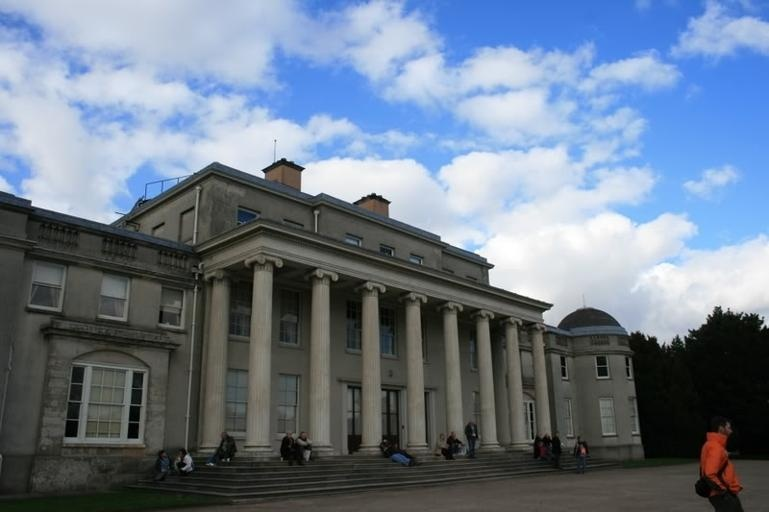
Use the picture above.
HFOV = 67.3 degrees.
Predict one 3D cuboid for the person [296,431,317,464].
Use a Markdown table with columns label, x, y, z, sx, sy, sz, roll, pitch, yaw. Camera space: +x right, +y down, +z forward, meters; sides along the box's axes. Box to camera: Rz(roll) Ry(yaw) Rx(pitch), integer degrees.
| label | x | y | z | sx | sy | sz | roll | pitch | yaw |
| --- | --- | --- | --- | --- | --- | --- | --- | --- | --- |
| person | -3.392 | 8.368 | 25.260 | 0.898 | 1.614 | 0.806 | -23 | -23 | 39 |

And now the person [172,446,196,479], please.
| label | x | y | z | sx | sy | sz | roll | pitch | yaw |
| --- | --- | --- | --- | --- | --- | --- | --- | --- | --- |
| person | -8.218 | 8.649 | 24.356 | 0.909 | 1.059 | 1.532 | -6 | -22 | 9 |

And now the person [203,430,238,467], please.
| label | x | y | z | sx | sy | sz | roll | pitch | yaw |
| --- | --- | --- | --- | --- | --- | --- | --- | --- | --- |
| person | -7.226 | 8.206 | 24.307 | 0.984 | 1.512 | 1.416 | -18 | -29 | 22 |

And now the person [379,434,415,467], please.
| label | x | y | z | sx | sy | sz | roll | pitch | yaw |
| --- | --- | --- | --- | --- | --- | --- | --- | --- | --- |
| person | 0.598 | 9.293 | 27.442 | 1.587 | 1.138 | 0.908 | -5 | -21 | 6 |

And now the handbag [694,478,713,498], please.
| label | x | y | z | sx | sy | sz | roll | pitch | yaw |
| --- | --- | --- | --- | --- | --- | --- | --- | --- | --- |
| handbag | 6.845 | 4.942 | 12.450 | 0.293 | 0.395 | 0.490 | -6 | -22 | 9 |

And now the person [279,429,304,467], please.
| label | x | y | z | sx | sy | sz | roll | pitch | yaw |
| --- | --- | --- | --- | --- | --- | --- | --- | --- | --- |
| person | -4.059 | 8.339 | 25.062 | 0.756 | 1.767 | 1.246 | 15 | -51 | -31 |

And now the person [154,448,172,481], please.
| label | x | y | z | sx | sy | sz | roll | pitch | yaw |
| --- | --- | --- | --- | --- | --- | --- | --- | --- | --- |
| person | -9.129 | 8.561 | 23.795 | 0.704 | 1.142 | 0.376 | -6 | -21 | 11 |

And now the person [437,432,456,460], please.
| label | x | y | z | sx | sy | sz | roll | pitch | yaw |
| --- | --- | --- | --- | --- | --- | --- | --- | --- | --- |
| person | 3.178 | 9.676 | 29.642 | 0.794 | 1.313 | 1.084 | -10 | -22 | 20 |
